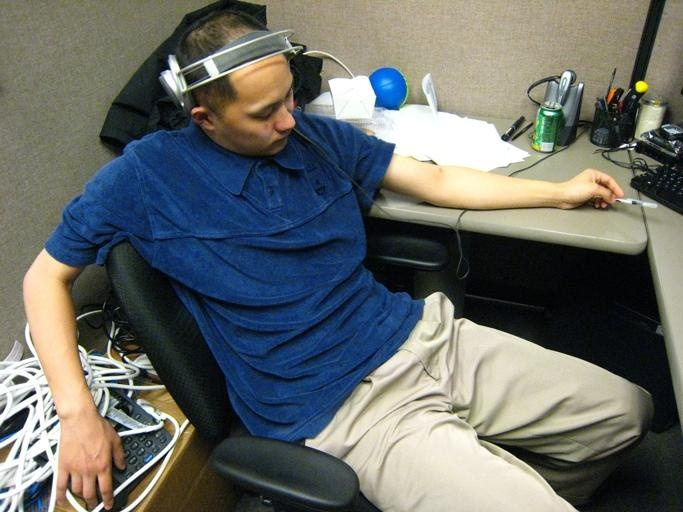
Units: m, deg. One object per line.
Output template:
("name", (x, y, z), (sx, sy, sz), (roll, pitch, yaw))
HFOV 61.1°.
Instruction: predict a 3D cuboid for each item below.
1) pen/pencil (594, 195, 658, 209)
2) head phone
("pen/pencil", (0.782, -0.150, 1.617), (0.135, 0.023, 0.020), (4, 53, 1))
("head phone", (-0.280, -0.497, 1.491), (0.365, 0.152, 0.334), (-25, 15, -1))
